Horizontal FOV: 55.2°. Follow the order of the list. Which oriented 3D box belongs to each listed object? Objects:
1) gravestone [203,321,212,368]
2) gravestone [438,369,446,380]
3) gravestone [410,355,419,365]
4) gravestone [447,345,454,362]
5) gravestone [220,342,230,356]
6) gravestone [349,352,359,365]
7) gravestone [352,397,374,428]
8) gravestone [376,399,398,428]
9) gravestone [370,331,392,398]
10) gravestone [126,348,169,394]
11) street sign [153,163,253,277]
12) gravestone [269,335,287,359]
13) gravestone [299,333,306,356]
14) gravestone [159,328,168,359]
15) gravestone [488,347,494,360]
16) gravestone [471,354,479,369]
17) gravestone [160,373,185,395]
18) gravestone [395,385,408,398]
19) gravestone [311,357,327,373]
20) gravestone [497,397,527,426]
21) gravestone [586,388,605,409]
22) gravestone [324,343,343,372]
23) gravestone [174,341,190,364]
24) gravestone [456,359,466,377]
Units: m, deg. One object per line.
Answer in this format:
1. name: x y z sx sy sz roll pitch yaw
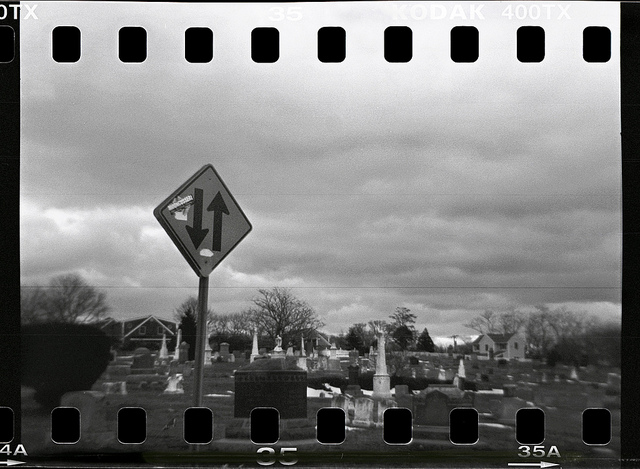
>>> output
1. gravestone: -1.080 1.068 5.957 0.079 0.433 0.126 3 -13 -8
2. gravestone: 1.191 1.359 5.955 0.079 0.157 0.082 0 -9 2
3. gravestone: 0.923 1.210 5.942 0.097 0.098 0.025 -1 1 4
4. gravestone: 1.277 1.156 5.960 0.061 0.147 0.041 0 -13 5
5. gravestone: -0.924 1.108 5.946 0.091 0.129 0.047 2 -13 -5
6. gravestone: 0.333 1.194 5.923 0.091 0.118 0.034 1 -13 3
7. gravestone: 0.426 1.709 5.945 0.252 0.349 0.169 2 3 15
8. gravestone: 0.642 1.738 5.946 0.246 0.367 0.038 2 4 2
9. gravestone: 0.602 1.262 5.943 0.181 0.613 0.171 0 -13 7
10. gravestone: -1.711 1.317 6.003 0.381 0.485 0.379 1 -8 -10
11. street sign: -1.146 -0.135 5.989 0.924 1.064 0.233 -2 -13 12
12. gravestone: -0.400 1.091 5.946 0.146 0.200 0.063 4 -13 -10
13. gravestone: -0.162 1.067 5.939 0.057 0.205 0.059 1 -13 -1
14. gravestone: -1.515 1.063 5.964 0.075 0.270 0.076 3 -13 -7
15. gravestone: 1.668 1.164 5.964 0.081 0.114 0.084 -3 -6 28
16. gravestone: 1.511 1.237 5.971 0.064 0.136 0.048 0 -13 3
17. gravestone: -1.448 1.441 6.063 0.222 0.234 0.176 7 -8 -7
18. gravestone: 0.791 1.508 5.904 0.105 0.111 0.106 0 -9 3
19. gravestone: 0.009 1.257 5.940 0.134 0.144 0.133 8 -9 -37
20. gravestone: 1.884 1.716 5.973 0.274 0.265 0.094 5 -14 -14
21. gravestone: 2.697 1.594 5.988 0.181 0.185 0.049 2 -13 -3
22. gravestone: 0.131 1.199 5.941 0.217 0.392 0.227 0 -9 -2
23. gravestone: -1.340 1.150 5.958 0.152 0.205 0.061 -4 -14 20
24. gravestone: 1.379 1.297 5.970 0.067 0.159 0.045 -1 -13 7
